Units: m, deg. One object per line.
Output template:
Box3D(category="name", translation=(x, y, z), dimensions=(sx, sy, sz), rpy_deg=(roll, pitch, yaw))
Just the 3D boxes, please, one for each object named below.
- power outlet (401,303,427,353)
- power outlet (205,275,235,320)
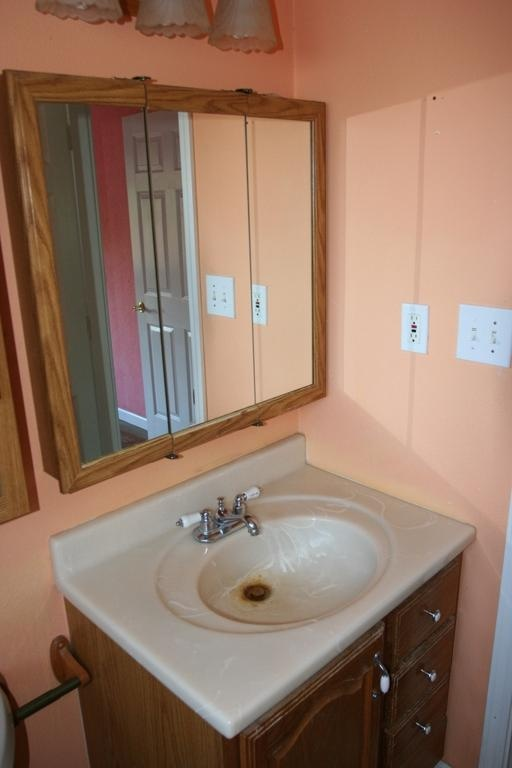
Box3D(category="power outlet", translation=(0.348, -0.127, 1.280), dimensions=(0.013, 0.143, 0.098), rpy_deg=(-7, 8, -34))
Box3D(category="power outlet", translation=(-0.082, -0.190, 1.254), dimensions=(0.012, 0.125, 0.091), rpy_deg=(4, 8, 35))
